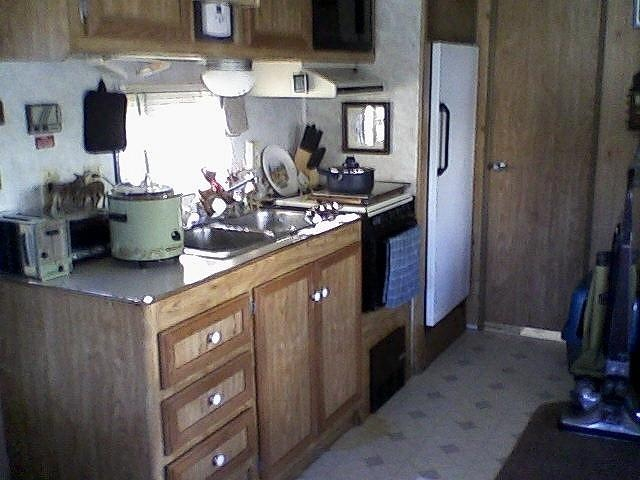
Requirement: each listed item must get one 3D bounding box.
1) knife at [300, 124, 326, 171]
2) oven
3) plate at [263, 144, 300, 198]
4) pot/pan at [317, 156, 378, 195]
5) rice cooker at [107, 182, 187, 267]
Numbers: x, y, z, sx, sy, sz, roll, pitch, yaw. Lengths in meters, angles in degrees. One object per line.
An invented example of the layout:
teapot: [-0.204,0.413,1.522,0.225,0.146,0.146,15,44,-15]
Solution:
knife: [-0.054,-0.587,3.546,0.117,0.097,0.339,10,39,19]
oven: [0.374,0.068,3.104,0.311,0.567,0.580,-3,7,31]
plate: [-0.217,-0.414,3.332,0.124,0.300,0.350,6,17,30]
pot/pan: [0.174,-0.393,3.280,0.297,0.217,0.306,5,13,29]
rice cooker: [-0.678,-0.067,2.164,0.162,0.320,0.210,13,19,27]
